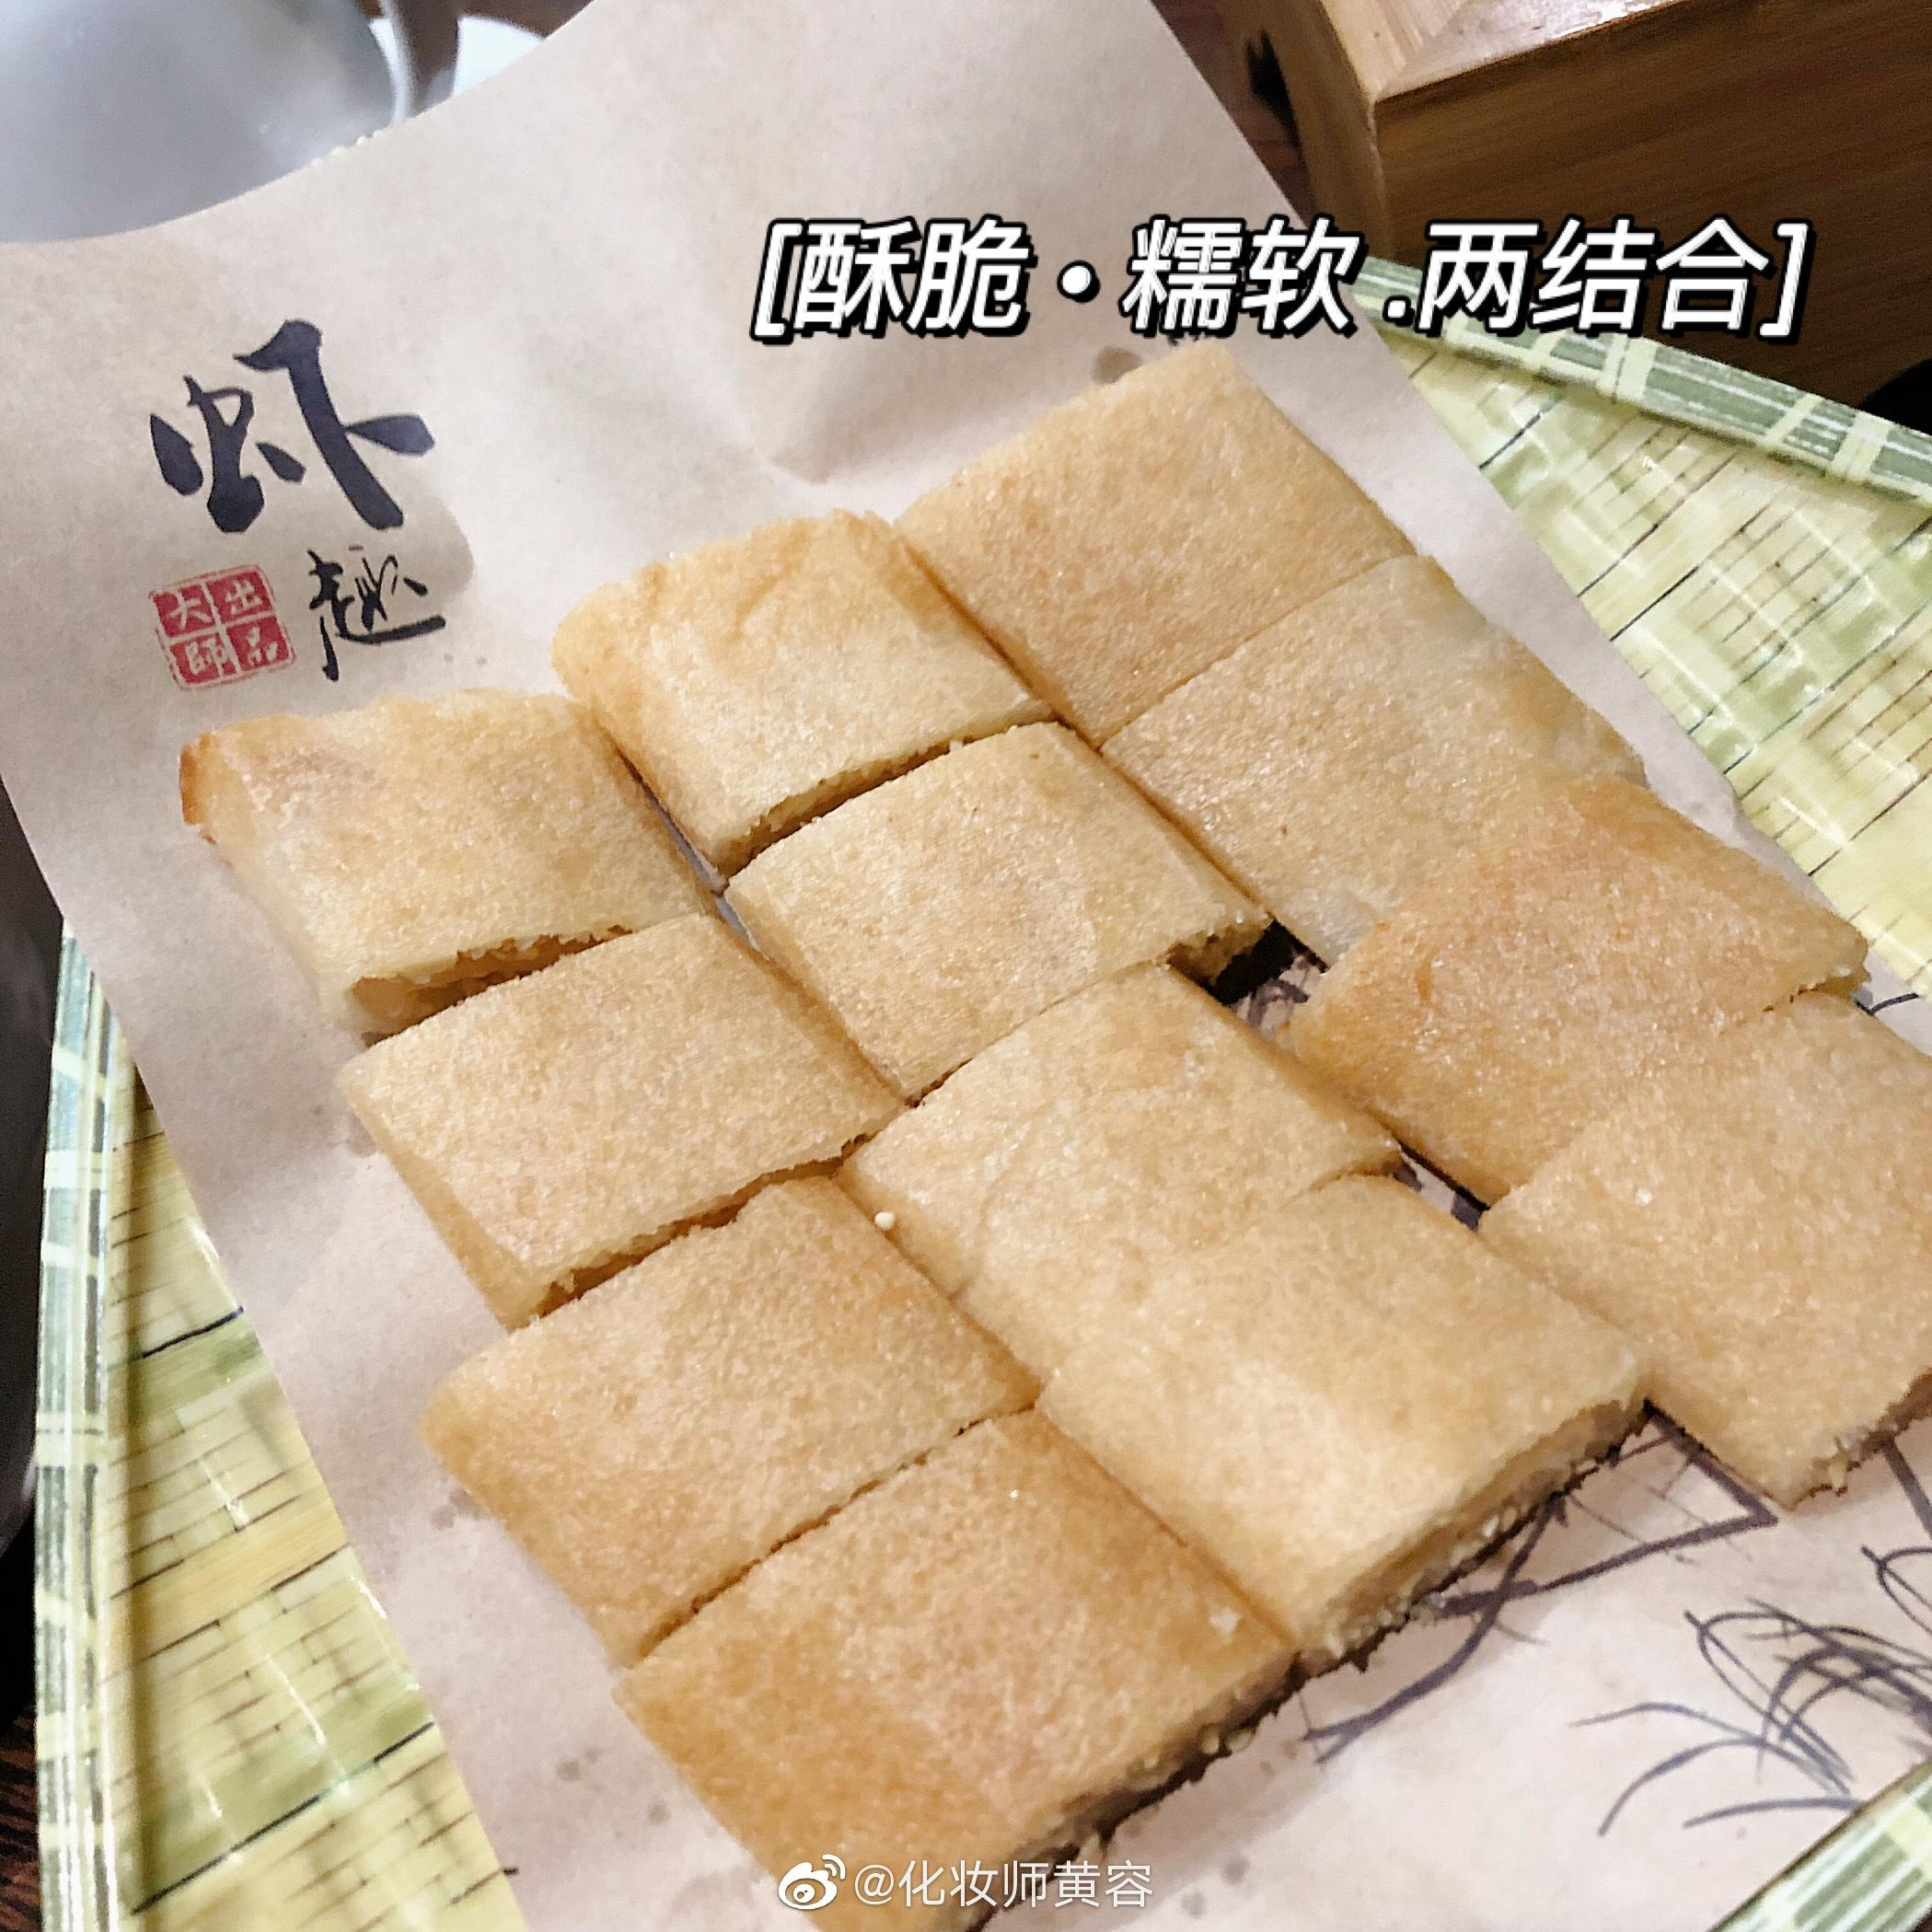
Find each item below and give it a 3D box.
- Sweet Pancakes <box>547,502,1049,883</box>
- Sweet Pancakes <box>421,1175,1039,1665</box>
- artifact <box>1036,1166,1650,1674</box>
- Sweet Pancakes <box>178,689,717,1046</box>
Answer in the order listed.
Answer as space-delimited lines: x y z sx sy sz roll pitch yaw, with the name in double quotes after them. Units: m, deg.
-0.197 -0.304 1.963 0.443 0.139 0.401 -28 68 -13 "Sweet Pancakes"
-0.205 0.400 1.614 0.522 0.122 0.365 -35 71 -9 "Sweet Pancakes"
0.331 0.368 1.721 0.554 0.117 0.523 -14 35 11 "artifact"
-0.527 -0.129 1.908 0.430 0.123 0.408 -29 67 -27 "Sweet Pancakes"
